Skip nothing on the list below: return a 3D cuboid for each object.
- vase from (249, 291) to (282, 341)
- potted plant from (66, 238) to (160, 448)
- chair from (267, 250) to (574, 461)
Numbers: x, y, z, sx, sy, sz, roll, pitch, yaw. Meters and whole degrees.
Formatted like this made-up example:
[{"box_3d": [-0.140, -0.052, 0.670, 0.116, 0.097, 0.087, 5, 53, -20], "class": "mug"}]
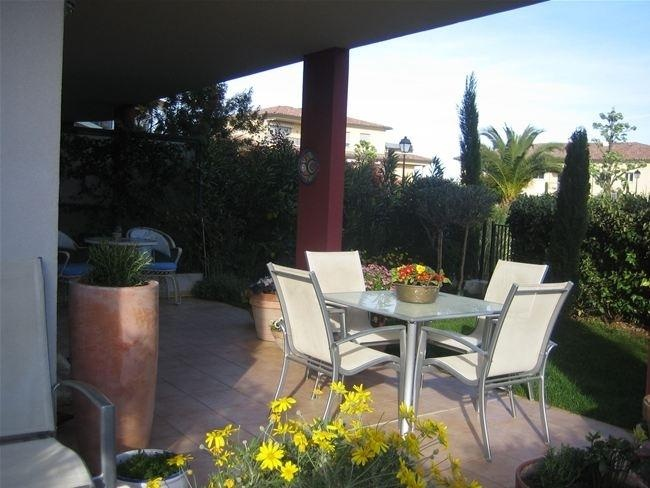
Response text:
[{"box_3d": [-0.557, 0.770, 5.611, 0.445, 0.433, 0.475, 4, 5, 39], "class": "vase"}, {"box_3d": [-1.243, 0.583, 2.976, 0.464, 1.264, 0.444, -1, 9, -16], "class": "potted plant"}, {"box_3d": [0.969, 0.742, 3.475, 1.259, 1.147, 0.938, 5, 9, 27], "class": "chair"}]
